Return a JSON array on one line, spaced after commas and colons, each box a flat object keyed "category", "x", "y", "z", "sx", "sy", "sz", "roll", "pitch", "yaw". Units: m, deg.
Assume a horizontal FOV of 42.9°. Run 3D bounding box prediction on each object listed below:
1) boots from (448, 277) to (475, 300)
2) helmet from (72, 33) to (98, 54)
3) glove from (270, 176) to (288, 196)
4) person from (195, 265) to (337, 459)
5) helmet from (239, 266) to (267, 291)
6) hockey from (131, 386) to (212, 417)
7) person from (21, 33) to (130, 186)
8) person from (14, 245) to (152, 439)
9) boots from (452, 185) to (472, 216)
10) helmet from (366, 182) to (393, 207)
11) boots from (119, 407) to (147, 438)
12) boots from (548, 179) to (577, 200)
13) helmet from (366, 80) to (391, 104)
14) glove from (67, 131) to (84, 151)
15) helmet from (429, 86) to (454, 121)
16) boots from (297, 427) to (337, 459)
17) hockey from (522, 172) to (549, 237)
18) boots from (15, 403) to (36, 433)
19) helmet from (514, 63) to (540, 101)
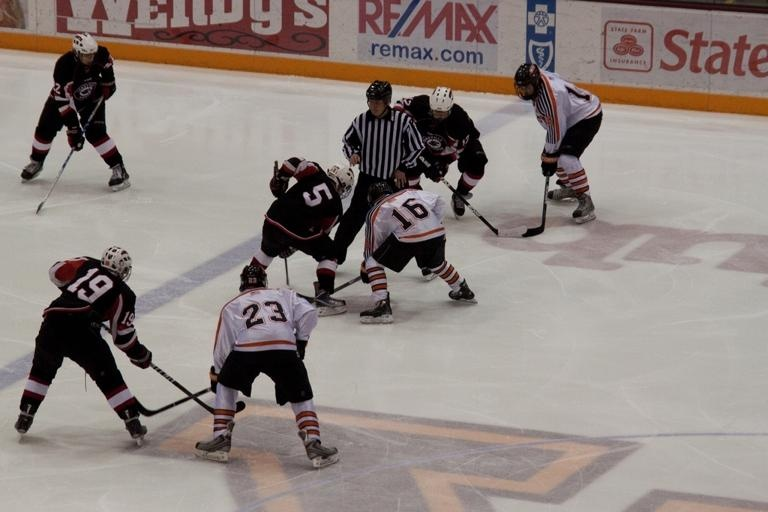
[{"category": "boots", "x": 0.608, "y": 0.275, "z": 8.324, "sx": 0.283, "sy": 0.197, "sz": 0.114, "roll": 13, "pitch": 51, "yaw": 27}, {"category": "helmet", "x": -2.947, "y": -2.089, "z": 9.667, "sx": 0.225, "sy": 0.192, "sz": 0.224, "roll": -3, "pitch": 16, "yaw": -20}, {"category": "glove", "x": -0.901, "y": -0.595, "z": 8.429, "sx": 0.150, "sy": 0.147, "sz": 0.179, "roll": 9, "pitch": 3, "yaw": -1}, {"category": "person", "x": -0.800, "y": 0.826, "z": 6.603, "sx": 0.913, "sy": 1.123, "sz": 0.545, "roll": 2, "pitch": 16, "yaw": -2}, {"category": "helmet", "x": -0.904, "y": 0.154, "z": 6.804, "sx": 0.170, "sy": 0.178, "sz": 0.190, "roll": 1, "pitch": 17, "yaw": -3}, {"category": "hockey", "x": -1.524, "y": 1.085, "z": 7.052, "sx": 0.330, "sy": 0.075, "sz": 0.303, "roll": -21, "pitch": 15, "yaw": -23}, {"category": "person", "x": -3.152, "y": -1.466, "z": 9.982, "sx": 0.966, "sy": 1.565, "sz": 0.446, "roll": 8, "pitch": 17, "yaw": 20}, {"category": "person", "x": -2.121, "y": 0.627, "z": 6.890, "sx": 0.906, "sy": 1.290, "sz": 0.582, "roll": 1, "pitch": 16, "yaw": -6}, {"category": "boots", "x": 0.772, "y": -0.536, "z": 9.810, "sx": 0.130, "sy": 0.329, "sz": 0.152, "roll": -7, "pitch": -2, "yaw": -9}, {"category": "helmet", "x": -0.034, "y": -0.504, "z": 8.032, "sx": 0.236, "sy": 0.194, "sz": 0.167, "roll": 6, "pitch": 18, "yaw": -3}, {"category": "boots", "x": -1.761, "y": 1.185, "z": 6.843, "sx": 0.186, "sy": 0.246, "sz": 0.117, "roll": -2, "pitch": 16, "yaw": -14}, {"category": "boots", "x": 1.843, "y": -0.679, "z": 10.227, "sx": 0.426, "sy": 0.247, "sz": 0.135, "roll": 3, "pitch": 22, "yaw": 10}, {"category": "helmet", "x": -0.034, "y": -1.414, "z": 8.459, "sx": 0.245, "sy": 0.223, "sz": 0.188, "roll": 6, "pitch": 14, "yaw": -1}, {"category": "glove", "x": -3.128, "y": -1.165, "z": 9.911, "sx": 0.149, "sy": 0.221, "sz": 0.218, "roll": -3, "pitch": 16, "yaw": -18}, {"category": "helmet", "x": 0.526, "y": -1.412, "z": 8.980, "sx": 0.252, "sy": 0.260, "sz": 0.263, "roll": 9, "pitch": -7, "yaw": 3}, {"category": "boots", "x": -0.434, "y": 1.263, "z": 6.543, "sx": 0.246, "sy": 0.202, "sz": 0.154, "roll": -5, "pitch": 17, "yaw": -27}, {"category": "hockey", "x": 1.481, "y": -0.484, "z": 9.496, "sx": 0.202, "sy": 0.554, "sz": 0.506, "roll": 6, "pitch": 15, "yaw": 12}, {"category": "boots", "x": -2.513, "y": 1.140, "z": 6.845, "sx": 0.093, "sy": 0.263, "sz": 0.148, "roll": 10, "pitch": 51, "yaw": -15}, {"category": "helmet", "x": 1.377, "y": -1.627, "z": 9.264, "sx": 0.291, "sy": 0.329, "sz": 0.310, "roll": 1, "pitch": 56, "yaw": 16}]
